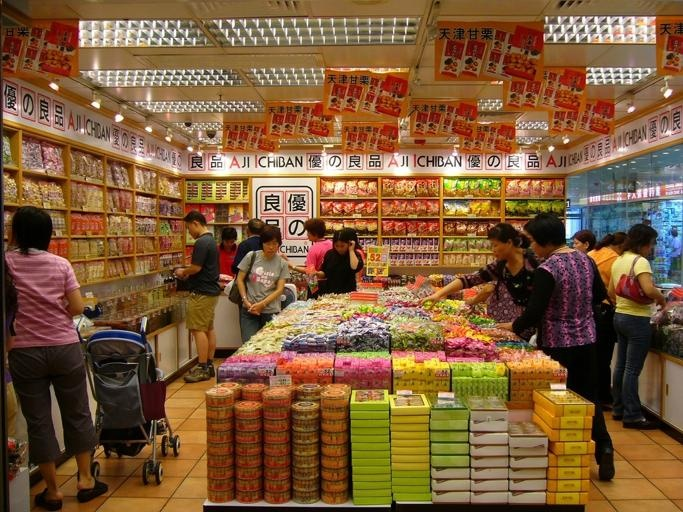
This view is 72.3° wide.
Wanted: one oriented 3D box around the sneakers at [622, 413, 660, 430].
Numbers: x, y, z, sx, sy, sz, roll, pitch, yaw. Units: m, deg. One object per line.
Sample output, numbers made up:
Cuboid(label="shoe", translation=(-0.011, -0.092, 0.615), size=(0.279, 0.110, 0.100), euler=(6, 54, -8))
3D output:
Cuboid(label="sneakers", translation=(3.183, 1.766, 5.007), size=(0.373, 0.127, 0.125), euler=(-3, -2, 8))

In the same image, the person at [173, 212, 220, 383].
Cuboid(label="person", translation=(-1.908, 0.562, 6.288), size=(0.519, 2.302, 0.415), euler=(-4, 7, -28))

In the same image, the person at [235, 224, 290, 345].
Cuboid(label="person", translation=(-0.965, 0.333, 5.484), size=(0.644, 1.379, 0.541), euler=(0, 6, 8))

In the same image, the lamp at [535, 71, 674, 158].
Cuboid(label="lamp", translation=(3.587, -2.069, 6.166), size=(0.902, 0.249, 1.191), euler=(5, -22, -6))

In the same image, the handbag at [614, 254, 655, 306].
Cuboid(label="handbag", translation=(2.986, 0.258, 4.735), size=(0.331, 0.505, 0.170), euler=(2, 7, 29))

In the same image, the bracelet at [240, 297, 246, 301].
Cuboid(label="bracelet", translation=(-1.151, 0.501, 5.445), size=(0.059, 0.035, 0.051), euler=(-1, -23, 2))

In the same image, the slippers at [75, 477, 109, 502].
Cuboid(label="slippers", translation=(-1.988, 1.860, 3.755), size=(0.105, 0.098, 0.264), euler=(1, 0, 15))

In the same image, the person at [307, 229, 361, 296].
Cuboid(label="person", translation=(-0.032, 0.091, 6.040), size=(0.624, 0.898, 0.608), euler=(-1, 6, -4))

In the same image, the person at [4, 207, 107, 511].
Cuboid(label="person", translation=(-2.235, 0.640, 3.554), size=(0.526, 2.016, 0.325), euler=(-4, 7, -23))

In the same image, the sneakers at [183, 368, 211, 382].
Cuboid(label="sneakers", translation=(-1.984, 1.628, 6.436), size=(0.383, 0.189, 0.166), euler=(5, -6, -3))
